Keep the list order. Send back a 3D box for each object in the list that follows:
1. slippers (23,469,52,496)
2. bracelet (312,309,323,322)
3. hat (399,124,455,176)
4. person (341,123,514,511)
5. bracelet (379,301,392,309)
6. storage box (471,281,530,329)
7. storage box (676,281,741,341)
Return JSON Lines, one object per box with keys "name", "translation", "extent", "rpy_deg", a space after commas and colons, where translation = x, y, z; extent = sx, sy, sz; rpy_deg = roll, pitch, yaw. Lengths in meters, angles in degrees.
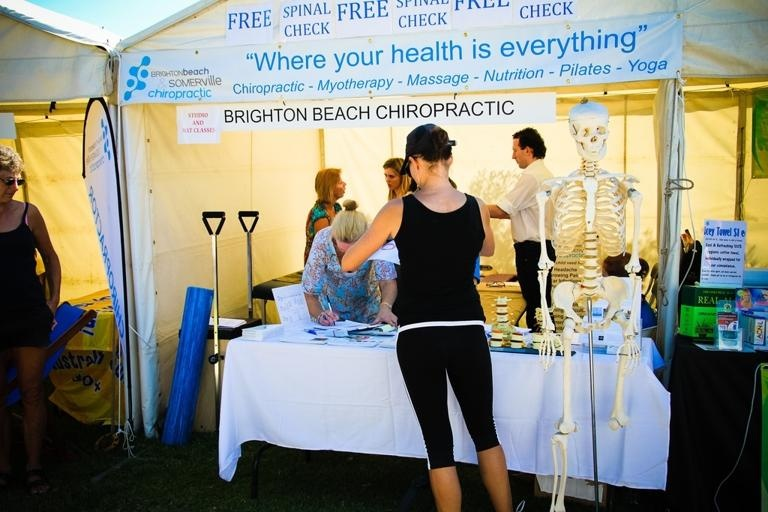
{"name": "slippers", "translation": [-2.390, 1.562, 4.359], "extent": [0.092, 0.072, 0.258], "rpy_deg": [-4, 37, -37]}
{"name": "bracelet", "translation": [-0.459, 0.421, 4.462], "extent": [0.073, 0.018, 0.074], "rpy_deg": [-35, 5, -13]}
{"name": "hat", "translation": [0.228, -0.587, 3.420], "extent": [0.189, 0.149, 0.260], "rpy_deg": [-11, 19, -19]}
{"name": "person", "translation": [0.286, 0.332, 3.446], "extent": [0.799, 2.084, 0.379], "rpy_deg": [0, 6, -2]}
{"name": "bracelet", "translation": [0.017, 0.350, 4.451], "extent": [0.056, 0.024, 0.066], "rpy_deg": [10, 33, -25]}
{"name": "storage box", "translation": [1.373, 0.505, 7.388], "extent": [0.571, 0.457, 0.587], "rpy_deg": [0, 4, 16]}
{"name": "storage box", "translation": [2.074, 0.359, 4.157], "extent": [0.421, 0.429, 0.303], "rpy_deg": [0, -1, 2]}
